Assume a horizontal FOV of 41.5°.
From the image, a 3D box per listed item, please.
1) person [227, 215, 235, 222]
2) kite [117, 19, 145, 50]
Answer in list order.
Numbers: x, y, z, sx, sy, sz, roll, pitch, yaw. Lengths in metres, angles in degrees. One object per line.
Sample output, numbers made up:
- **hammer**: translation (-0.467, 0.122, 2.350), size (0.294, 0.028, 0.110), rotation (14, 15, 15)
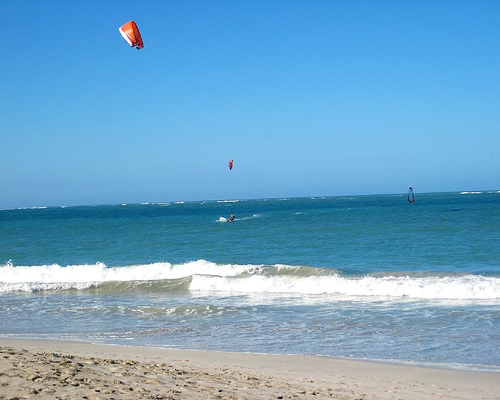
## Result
- **person**: translation (-1.858, 2.070, 69.974), size (0.992, 0.478, 0.564), rotation (3, 19, 17)
- **kite**: translation (-3.603, -5.057, 20.311), size (0.615, 0.782, 0.736), rotation (-1, 3, -10)
